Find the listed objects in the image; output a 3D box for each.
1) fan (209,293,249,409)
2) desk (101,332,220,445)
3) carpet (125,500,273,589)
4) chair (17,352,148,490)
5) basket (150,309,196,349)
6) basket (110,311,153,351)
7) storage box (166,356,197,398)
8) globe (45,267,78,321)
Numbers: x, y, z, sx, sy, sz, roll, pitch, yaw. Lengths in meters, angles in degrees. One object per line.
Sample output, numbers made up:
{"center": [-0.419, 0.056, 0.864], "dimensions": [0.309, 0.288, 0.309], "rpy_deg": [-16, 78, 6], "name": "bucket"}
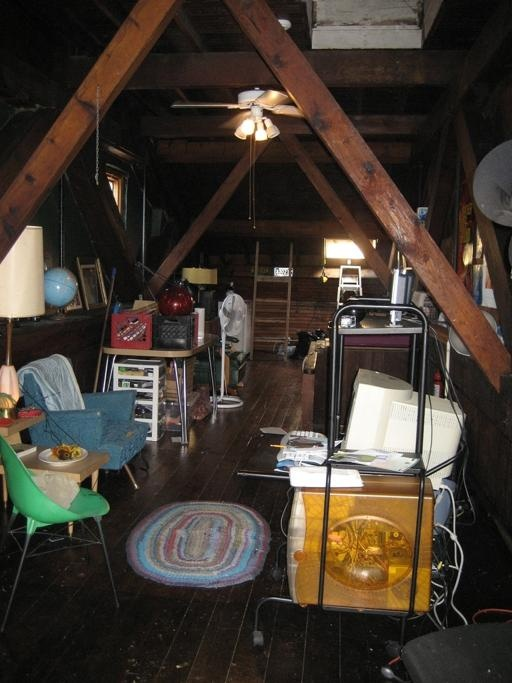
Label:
{"center": [-0.309, 0.066, 6.338], "dimensions": [0.439, 1.348, 0.490], "rpy_deg": [3, 7, 2], "name": "fan"}
{"center": [-0.855, 0.222, 5.232], "dimensions": [0.930, 0.944, 1.234], "rpy_deg": [2, 8, 5], "name": "desk"}
{"center": [-0.320, 1.130, 3.091], "dimensions": [0.803, 0.025, 0.929], "rpy_deg": [2, 7, 3], "name": "carpet"}
{"center": [-1.204, 0.486, 3.684], "dimensions": [0.831, 0.979, 0.952], "rpy_deg": [2, 4, 4], "name": "chair"}
{"center": [-0.747, -0.087, 4.895], "dimensions": [0.372, 0.309, 0.178], "rpy_deg": [0, 7, -10], "name": "basket"}
{"center": [-1.117, -0.106, 4.922], "dimensions": [0.334, 0.218, 0.339], "rpy_deg": [7, 23, 15], "name": "basket"}
{"center": [-0.730, 0.320, 5.507], "dimensions": [0.296, 0.379, 0.551], "rpy_deg": [0, 7, 3], "name": "storage box"}
{"center": [-1.722, -0.446, 4.770], "dimensions": [0.242, 0.391, 0.482], "rpy_deg": [-1, 7, -22], "name": "globe"}
